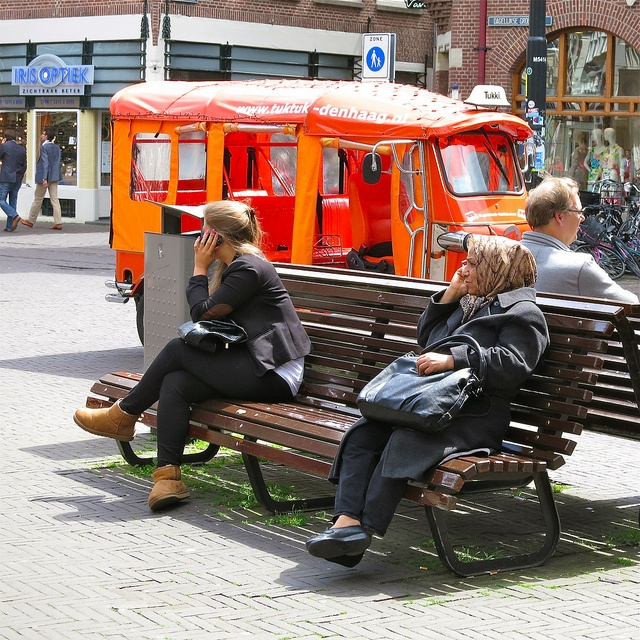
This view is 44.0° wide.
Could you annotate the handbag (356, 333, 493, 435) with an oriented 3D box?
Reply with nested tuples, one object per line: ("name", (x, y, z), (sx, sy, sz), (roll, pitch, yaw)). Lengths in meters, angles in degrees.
("handbag", (0.472, 0.288, 3.419), (0.501, 0.464, 0.226), (-1, -44, 54))

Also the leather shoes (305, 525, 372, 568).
("leather shoes", (0.122, 0.910, 3.197), (0.377, 0.114, 0.156), (1, 37, -7))

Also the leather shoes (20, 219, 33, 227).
("leather shoes", (-9.597, -3.160, 25.906), (0.464, 0.138, 0.186), (38, 3, 27))

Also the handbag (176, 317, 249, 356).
("handbag", (-0.572, 0.084, 4.316), (0.264, 0.090, 0.220), (-6, 10, -42))

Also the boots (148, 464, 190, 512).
("boots", (-0.821, 0.887, 4.227), (0.151, 0.183, 0.333), (-16, -9, 12))
